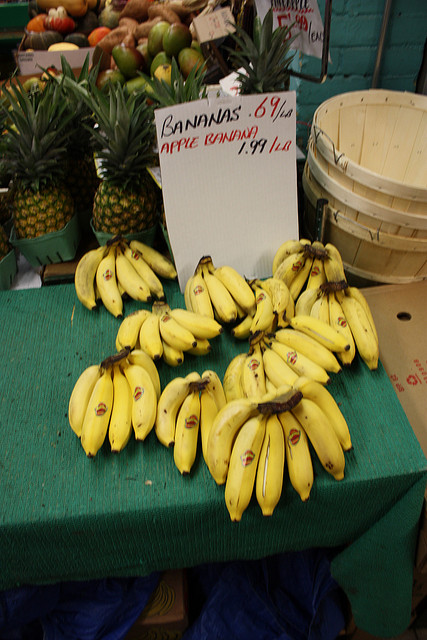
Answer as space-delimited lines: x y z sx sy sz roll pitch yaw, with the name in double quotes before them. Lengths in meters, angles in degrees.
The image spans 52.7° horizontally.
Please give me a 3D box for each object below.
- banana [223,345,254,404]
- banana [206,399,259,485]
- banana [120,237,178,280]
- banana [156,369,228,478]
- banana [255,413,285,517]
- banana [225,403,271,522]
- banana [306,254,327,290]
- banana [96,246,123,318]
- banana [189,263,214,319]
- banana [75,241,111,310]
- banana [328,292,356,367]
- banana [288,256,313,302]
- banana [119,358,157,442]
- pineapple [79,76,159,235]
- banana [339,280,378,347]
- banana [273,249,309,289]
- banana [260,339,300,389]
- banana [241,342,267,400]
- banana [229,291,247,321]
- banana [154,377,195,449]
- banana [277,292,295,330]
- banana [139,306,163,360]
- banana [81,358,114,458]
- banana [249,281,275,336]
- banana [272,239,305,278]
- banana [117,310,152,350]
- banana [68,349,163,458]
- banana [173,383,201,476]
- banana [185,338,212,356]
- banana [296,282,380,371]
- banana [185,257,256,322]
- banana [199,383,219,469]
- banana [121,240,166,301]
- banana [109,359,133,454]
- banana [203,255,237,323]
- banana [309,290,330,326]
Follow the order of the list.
"banana" 0.055 0.131 0.977 0.045 0.049 0.185 -7 47 27
"banana" 0.027 0.223 0.821 0.061 0.041 0.161 20 60 22
"banana" -0.201 -0.184 1.318 0.144 0.037 0.046 55 25 2
"banana" -0.051 0.195 0.893 0.115 0.051 0.233 -10 69 18
"banana" 0.104 0.251 0.832 0.043 0.054 0.230 -5 79 45
"banana" 0.085 0.222 0.837 0.052 0.081 0.297 4 74 28
"banana" 0.283 -0.127 1.176 0.028 0.041 0.159 13 95 13
"banana" -0.299 -0.103 1.248 0.050 0.077 0.303 -17 68 33
"banana" -0.032 -0.044 1.209 0.053 0.259 0.103 -7 70 1
"banana" -0.359 -0.135 1.297 0.051 0.148 0.237 -4 23 -15
"banana" 0.315 0.009 1.071 0.039 0.056 0.214 24 49 -34
"banana" 0.248 -0.116 1.239 0.034 0.047 0.179 14 87 33
"banana" -0.165 0.167 0.949 0.069 0.066 0.217 -8 40 -18
"pineapple" -0.288 -0.455 1.380 0.156 0.471 0.194 1 24 3
"banana" 0.373 -0.012 1.115 0.046 0.043 0.159 -20 72 6
"banana" 0.219 -0.140 1.195 0.024 0.105 0.037 27 14 0
"banana" 0.142 0.104 0.932 0.040 0.050 0.149 -1 24 -13
"banana" 0.082 0.106 0.946 0.025 0.047 0.132 0 45 9
"banana" 0.059 -0.029 1.137 0.016 0.086 0.023 -17 20 -12
"banana" -0.091 0.200 0.919 0.056 0.054 0.158 18 43 1
"banana" 0.194 -0.016 1.125 0.025 0.037 0.143 9 86 22
"banana" -0.154 0.046 1.081 0.042 0.081 0.209 -5 37 -12
"banana" -0.240 0.197 0.899 0.036 0.070 0.217 10 59 0
"banana" 0.120 -0.025 1.067 0.046 0.047 0.171 -3 23 3
"banana" 0.221 -0.173 1.273 0.022 0.111 0.073 2 48 -31
"banana" -0.199 0.015 1.113 0.046 0.044 0.158 27 46 -8
"banana" -0.206 0.177 0.976 0.143 0.096 0.261 5 56 5
"banana" -0.041 0.222 0.910 0.038 0.055 0.223 15 72 -24
"banana" -0.036 0.067 1.071 0.051 0.082 0.035 -21 93 -29
"banana" 0.328 -0.007 1.088 0.117 0.065 0.303 -8 63 1
"banana" 0.013 -0.083 1.134 0.110 0.073 0.205 -15 53 0
"banana" -0.008 0.214 0.912 0.037 0.035 0.181 -5 76 28
"banana" -0.213 -0.141 1.284 0.028 0.053 0.174 -23 73 3
"banana" -0.201 0.189 0.935 0.040 0.065 0.210 -27 48 13
"banana" 0.016 -0.078 1.160 0.047 0.065 0.249 -33 57 34
"banana" 0.279 -0.033 1.104 0.032 0.035 0.127 12 47 0
